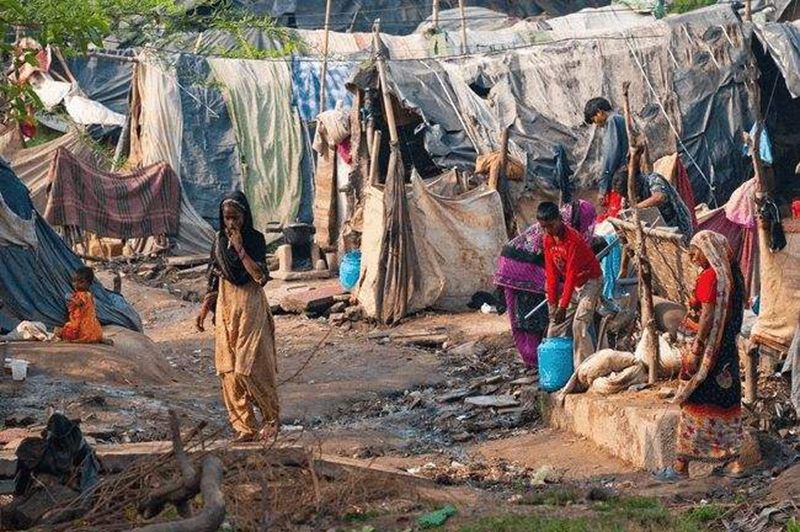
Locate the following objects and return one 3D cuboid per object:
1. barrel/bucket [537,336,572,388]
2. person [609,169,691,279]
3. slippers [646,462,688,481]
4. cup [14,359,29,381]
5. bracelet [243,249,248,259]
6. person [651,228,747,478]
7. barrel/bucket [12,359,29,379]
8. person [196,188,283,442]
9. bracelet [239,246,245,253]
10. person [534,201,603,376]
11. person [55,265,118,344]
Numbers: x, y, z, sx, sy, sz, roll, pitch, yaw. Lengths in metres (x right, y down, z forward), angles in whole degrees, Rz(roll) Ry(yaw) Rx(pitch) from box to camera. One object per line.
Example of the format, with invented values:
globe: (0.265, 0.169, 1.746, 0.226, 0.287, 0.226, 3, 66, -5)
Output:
barrel/bucket: (1.788, 1.112, 11.929, 0.546, 0.606, 0.548, 0, -3, 0)
person: (3.001, -0.703, 12.927, 1.086, 1.541, 0.988, -7, 3, 11)
slippers: (2.663, 2.054, 10.245, 0.272, 0.111, 0.154, 2, 1, 23)
cup: (-4.528, 1.249, 12.468, 0.203, 0.194, 0.214, 2, -1, 0)
bracelet: (-1.607, -0.121, 10.814, 0.024, 0.083, 0.058, -5, 2, -34)
person: (2.993, 0.871, 10.139, 0.735, 2.421, 0.283, -2, 6, 11)
barrel/bucket: (-4.531, 1.262, 12.463, 0.214, 0.193, 0.199, 4, 0, 0)
person: (-1.682, 0.540, 11.066, 0.824, 2.666, 0.597, 2, 8, 42)
bracelet: (-1.643, -0.168, 10.822, 0.041, 0.053, 0.048, 25, -23, 7)
person: (1.970, 0.236, 11.957, 0.636, 1.978, 0.934, 0, 6, 28)
person: (-4.220, 0.527, 13.738, 0.682, 1.027, 0.741, -6, 6, -28)
